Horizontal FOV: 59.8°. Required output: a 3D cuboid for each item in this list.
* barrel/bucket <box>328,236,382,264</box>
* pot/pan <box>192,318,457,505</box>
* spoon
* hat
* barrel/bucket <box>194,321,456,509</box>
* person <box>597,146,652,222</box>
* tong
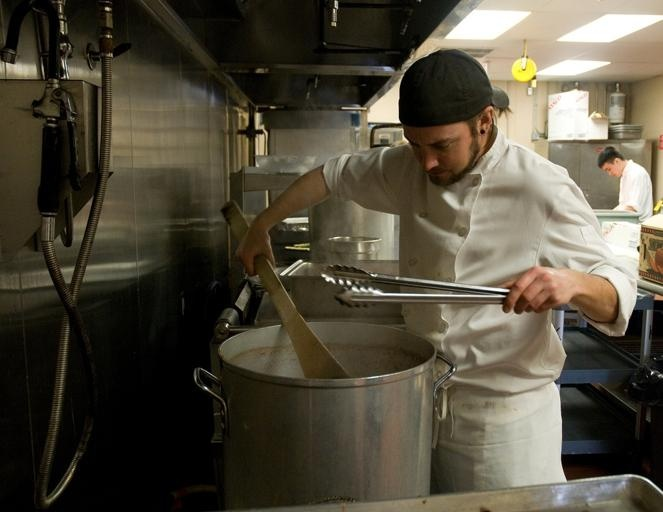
[{"bbox_3d":[0.123,-0.035,3.164,0.179,0.201,0.184,0,2,0],"label":"barrel/bucket"},{"bbox_3d":[-0.005,0.350,1.428,0.605,0.408,0.437,0,3,-6],"label":"pot/pan"},{"bbox_3d":[-0.204,-0.043,1.688,0.165,0.130,0.994,-8,48,-22],"label":"spoon"},{"bbox_3d":[0.334,-0.477,1.547,0.349,0.182,0.214,-21,34,-25],"label":"hat"},{"bbox_3d":[0.007,0.325,1.448,0.607,0.434,0.436,-1,7,-5],"label":"barrel/bucket"},{"bbox_3d":[3.289,-0.781,6.456,0.508,0.902,0.629,-11,10,9],"label":"person"},{"bbox_3d":[0.232,0.076,1.461,0.523,0.156,0.081,3,41,-8],"label":"tong"}]
